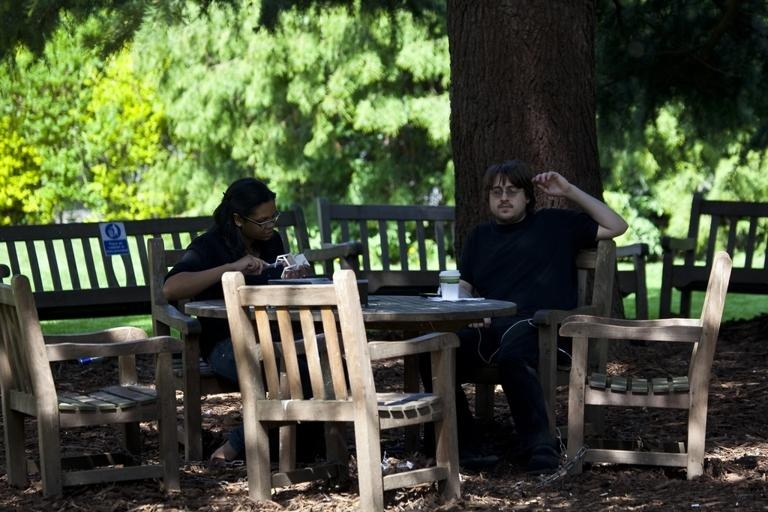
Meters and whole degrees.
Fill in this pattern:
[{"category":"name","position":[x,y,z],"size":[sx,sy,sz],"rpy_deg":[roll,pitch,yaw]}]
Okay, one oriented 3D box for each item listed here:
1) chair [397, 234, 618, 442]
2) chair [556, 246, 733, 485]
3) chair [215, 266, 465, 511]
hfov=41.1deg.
[{"category":"chair","position":[0.866,0.648,8.603],"size":[1.539,2.453,1.532],"rpy_deg":[-7,-11,41]},{"category":"chair","position":[1.986,0.490,7.968],"size":[1.272,1.945,1.400],"rpy_deg":[2,29,19]},{"category":"chair","position":[-0.258,0.818,7.456],"size":[1.569,2.405,1.569],"rpy_deg":[0,2,35]}]
